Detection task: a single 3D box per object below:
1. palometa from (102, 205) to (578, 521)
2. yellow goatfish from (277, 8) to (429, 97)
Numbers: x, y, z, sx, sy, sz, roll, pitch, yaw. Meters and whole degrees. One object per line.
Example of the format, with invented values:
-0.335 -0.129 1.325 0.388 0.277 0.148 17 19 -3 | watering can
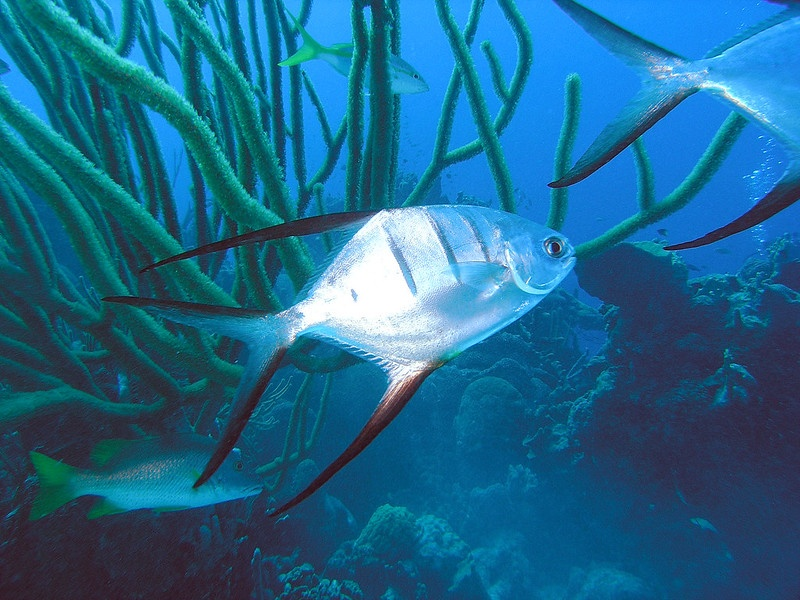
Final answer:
-0.064 0.115 4.806 2.812 0.781 1.418 -6 -66 -1 | palometa
-0.446 -2.449 6.805 1.600 0.323 0.699 14 -107 -14 | yellow goatfish
